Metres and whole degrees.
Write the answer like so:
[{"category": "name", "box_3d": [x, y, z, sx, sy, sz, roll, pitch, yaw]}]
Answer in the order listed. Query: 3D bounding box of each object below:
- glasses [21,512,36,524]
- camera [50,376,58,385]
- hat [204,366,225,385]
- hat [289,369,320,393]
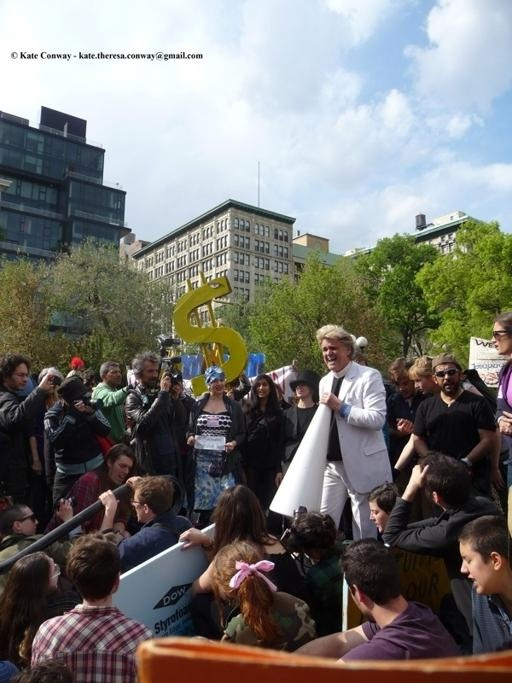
[{"category": "glasses", "box_3d": [-1.586, 1.229, 4.146, 0.096, 0.025, 0.089, -2, -6, -2]}, {"category": "camera", "box_3d": [-1.794, 0.340, 5.277, 0.066, 0.066, 0.127, -7, -14, -17]}, {"category": "hat", "box_3d": [-0.424, 0.362, 6.185, 0.178, 0.179, 0.190, 6, 33, -6]}, {"category": "hat", "box_3d": [0.563, 0.397, 6.343, 0.234, 0.107, 0.304, -25, -46, 38]}]
